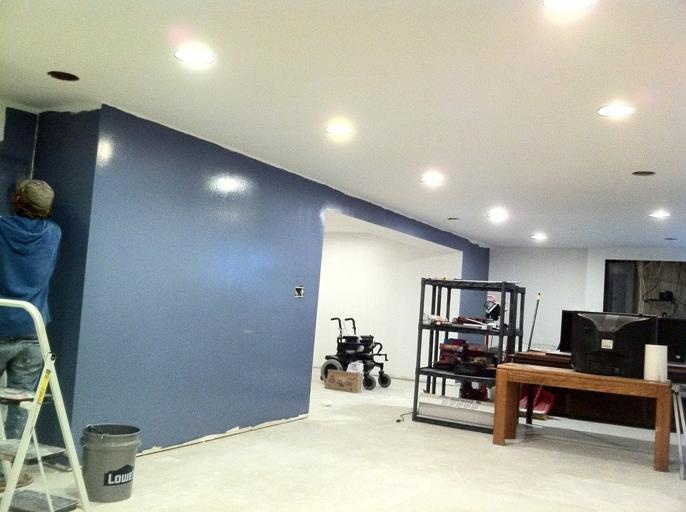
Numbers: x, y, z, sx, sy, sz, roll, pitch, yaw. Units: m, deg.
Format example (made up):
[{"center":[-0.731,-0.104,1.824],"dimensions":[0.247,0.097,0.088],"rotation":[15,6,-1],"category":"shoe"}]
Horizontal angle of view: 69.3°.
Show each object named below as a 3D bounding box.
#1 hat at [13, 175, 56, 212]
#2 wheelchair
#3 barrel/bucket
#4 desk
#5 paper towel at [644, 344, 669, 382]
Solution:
[{"center":[-2.417,-0.482,3.856],"dimensions":[0.226,0.265,0.286],"rotation":[13,18,-8],"category":"hat"},{"center":[0.229,1.703,8.579],"dimensions":[1.108,1.139,0.830],"rotation":[0,-10,34],"category":"wheelchair"},{"center":[-1.633,1.483,3.652],"dimensions":[0.489,0.495,0.459],"rotation":[0,-7,0],"category":"barrel/bucket"},{"center":[2.544,1.357,5.537],"dimensions":[1.699,0.883,1.214],"rotation":[-4,-10,36],"category":"desk"},{"center":[3.085,1.061,4.867],"dimensions":[0.222,0.359,0.171],"rotation":[3,-4,13],"category":"paper towel"}]
